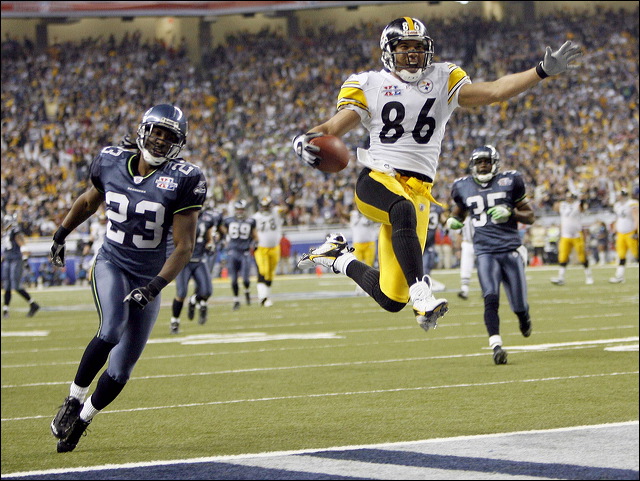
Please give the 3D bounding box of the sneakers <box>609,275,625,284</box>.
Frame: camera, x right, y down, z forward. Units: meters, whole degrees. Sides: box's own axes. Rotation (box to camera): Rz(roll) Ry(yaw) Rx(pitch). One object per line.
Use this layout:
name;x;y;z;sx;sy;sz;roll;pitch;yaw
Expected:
sneakers;4.120;0.570;11.512;0.258;0.106;0.082;3;38;0

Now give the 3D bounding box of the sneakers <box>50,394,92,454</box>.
sneakers;-1.546;1.086;5.101;0.192;0.149;0.422;-25;29;6

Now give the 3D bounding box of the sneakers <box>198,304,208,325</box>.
sneakers;-1.493;0.958;10.554;0.110;0.222;0.322;3;-23;-8

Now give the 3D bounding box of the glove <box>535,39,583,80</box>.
glove;1.458;-1.110;5.054;0.261;0.237;0.339;-2;3;32

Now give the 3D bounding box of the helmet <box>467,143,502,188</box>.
helmet;1.473;-0.627;7.351;0.255;0.317;0.343;-12;11;26

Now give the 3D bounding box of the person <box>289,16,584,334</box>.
person;0.599;-0.454;5.348;1.614;1.997;0.945;-3;2;8

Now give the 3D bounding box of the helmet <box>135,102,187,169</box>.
helmet;-0.988;-0.674;5.205;0.287;0.392;0.394;19;5;-12

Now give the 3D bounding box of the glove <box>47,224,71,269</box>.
glove;-1.732;0.048;5.481;0.101;0.309;0.134;0;7;-32

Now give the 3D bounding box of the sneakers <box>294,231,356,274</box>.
sneakers;0.093;0.106;5.862;0.456;0.234;0.149;4;-20;25

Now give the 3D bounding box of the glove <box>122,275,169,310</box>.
glove;-1.025;0.311;4.912;0.239;0.159;0.087;-38;-16;-33

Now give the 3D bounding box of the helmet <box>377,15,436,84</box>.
helmet;0.583;-1.271;5.462;0.319;0.395;0.414;-3;13;-3

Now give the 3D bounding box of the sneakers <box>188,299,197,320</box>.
sneakers;-1.664;0.917;10.767;0.108;0.332;0.144;6;11;-11

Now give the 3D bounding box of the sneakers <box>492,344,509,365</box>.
sneakers;1.507;0.953;6.821;0.084;0.101;0.227;-24;-28;6

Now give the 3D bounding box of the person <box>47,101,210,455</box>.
person;-1.155;0.224;5.029;0.979;1.710;0.440;-4;2;-5

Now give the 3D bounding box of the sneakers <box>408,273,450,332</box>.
sneakers;0.636;0.358;5.177;0.141;0.274;0.437;17;-29;13

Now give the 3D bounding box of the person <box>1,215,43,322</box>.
person;-4.732;0.406;12.916;0.477;1.417;0.725;-5;2;-29

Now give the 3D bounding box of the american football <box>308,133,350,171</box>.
american football;0.028;-0.570;5.196;0.190;0.198;0.250;37;-5;-25
